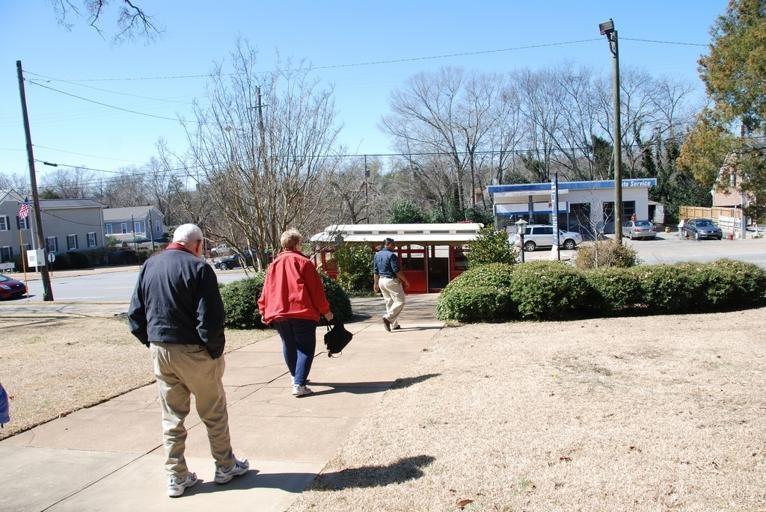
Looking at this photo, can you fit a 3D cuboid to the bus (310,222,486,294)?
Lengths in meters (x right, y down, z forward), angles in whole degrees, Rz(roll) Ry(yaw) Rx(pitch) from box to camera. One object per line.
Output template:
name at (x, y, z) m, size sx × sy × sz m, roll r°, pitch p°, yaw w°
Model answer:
bus at (0.260, 0.275, 24.323) m, size 6.386 × 2.867 × 2.345 m, roll -1°, pitch 7°, yaw 34°

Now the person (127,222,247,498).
person at (-2.151, 1.097, 7.456) m, size 1.001 × 2.850 × 0.973 m, roll -7°, pitch 13°, yaw -23°

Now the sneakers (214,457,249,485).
sneakers at (-1.695, 2.396, 7.464) m, size 0.169 × 0.247 × 0.473 m, roll 3°, pitch 9°, yaw 25°

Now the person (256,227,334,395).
person at (-1.203, 0.955, 9.412) m, size 0.967 × 2.005 × 0.467 m, roll -2°, pitch 12°, yaw 1°

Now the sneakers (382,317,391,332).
sneakers at (0.075, 1.411, 13.490) m, size 0.135 × 0.359 × 0.116 m, roll -13°, pitch 28°, yaw 12°

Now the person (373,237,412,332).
person at (0.134, 0.577, 13.471) m, size 0.592 × 1.956 × 0.641 m, roll -2°, pitch 12°, yaw 1°

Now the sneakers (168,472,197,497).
sneakers at (-2.172, 2.487, 7.345) m, size 0.141 × 0.194 × 0.390 m, roll 1°, pitch 9°, yaw 13°

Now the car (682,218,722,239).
car at (18.827, -1.498, 39.854) m, size 1.087 × 1.232 × 3.000 m, roll -3°, pitch 12°, yaw -4°
